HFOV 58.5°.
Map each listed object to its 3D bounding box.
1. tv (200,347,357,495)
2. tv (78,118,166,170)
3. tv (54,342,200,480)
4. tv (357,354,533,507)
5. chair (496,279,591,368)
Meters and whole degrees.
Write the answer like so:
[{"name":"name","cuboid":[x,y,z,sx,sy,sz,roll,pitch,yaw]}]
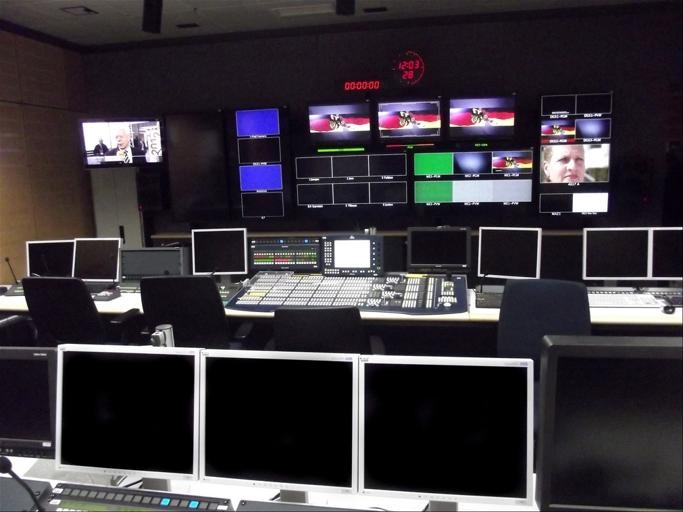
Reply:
[{"name":"tv","cuboid":[-0.228,0.612,2.268,0.537,0.440,0.038,0,2,9]},{"name":"tv","cuboid":[-2.229,-1.146,6.183,0.797,0.452,0.067,-1,9,3]},{"name":"tv","cuboid":[-0.813,0.594,2.335,0.509,0.419,0.054,1,1,7]},{"name":"tv","cuboid":[0.388,0.628,2.211,0.533,0.437,0.039,2,-2,4]},{"name":"chair","cuboid":[1.032,0.346,3.422,0.454,0.592,0.489,1,-1,11]}]
